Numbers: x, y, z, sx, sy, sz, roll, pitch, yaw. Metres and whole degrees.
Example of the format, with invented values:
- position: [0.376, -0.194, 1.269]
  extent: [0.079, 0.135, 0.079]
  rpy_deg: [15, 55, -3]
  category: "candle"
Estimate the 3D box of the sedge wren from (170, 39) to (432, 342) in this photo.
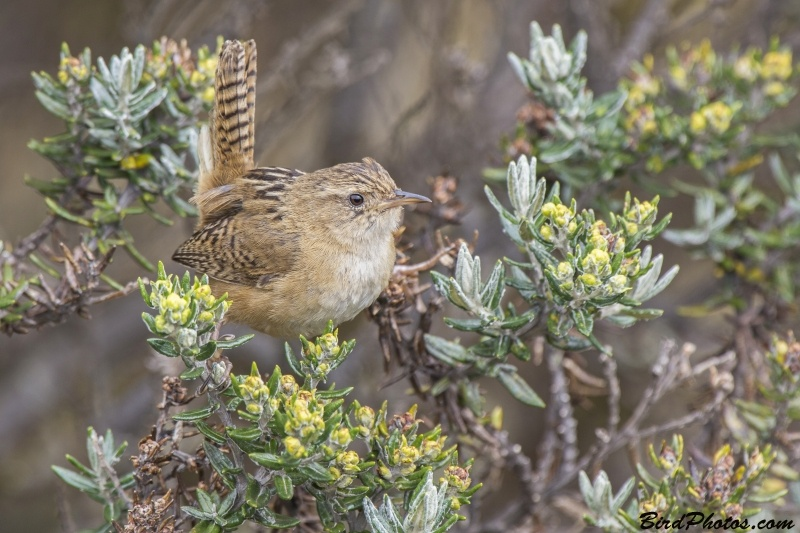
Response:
- position: [-0.574, -0.405, 5.024]
  extent: [1.609, 1.739, 0.787]
  rpy_deg: [13, 14, 30]
  category: "sedge wren"
